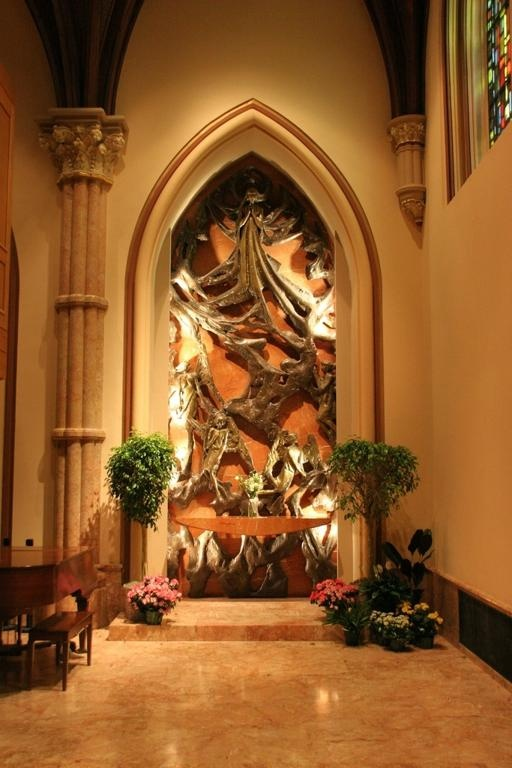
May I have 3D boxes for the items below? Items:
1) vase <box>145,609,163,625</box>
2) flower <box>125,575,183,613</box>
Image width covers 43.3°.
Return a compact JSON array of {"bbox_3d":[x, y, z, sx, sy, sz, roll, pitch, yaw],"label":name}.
[{"bbox_3d":[-0.959,2.181,6.030,0.137,0.102,0.141,-1,-12,2],"label":"vase"},{"bbox_3d":[-0.956,1.983,6.200,0.382,0.273,0.391,1,-11,5],"label":"flower"}]
